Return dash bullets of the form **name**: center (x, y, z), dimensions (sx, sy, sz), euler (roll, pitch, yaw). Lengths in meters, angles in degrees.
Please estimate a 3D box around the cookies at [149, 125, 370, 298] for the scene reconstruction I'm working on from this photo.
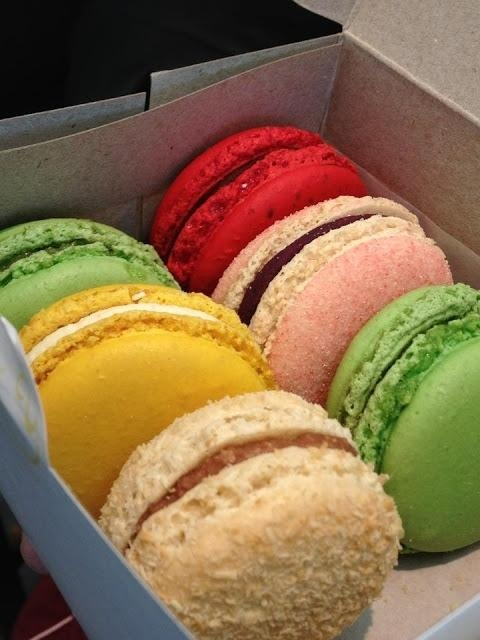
- **cookies**: center (0.005, -0.202, 1.317), dimensions (0.152, 0.375, 0.397), euler (48, 21, 20)

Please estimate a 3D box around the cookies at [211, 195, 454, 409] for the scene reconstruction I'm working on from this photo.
- **cookies**: center (0.169, -0.003, 1.091), dimensions (0.364, 0.181, 0.397), euler (-45, 20, -5)
